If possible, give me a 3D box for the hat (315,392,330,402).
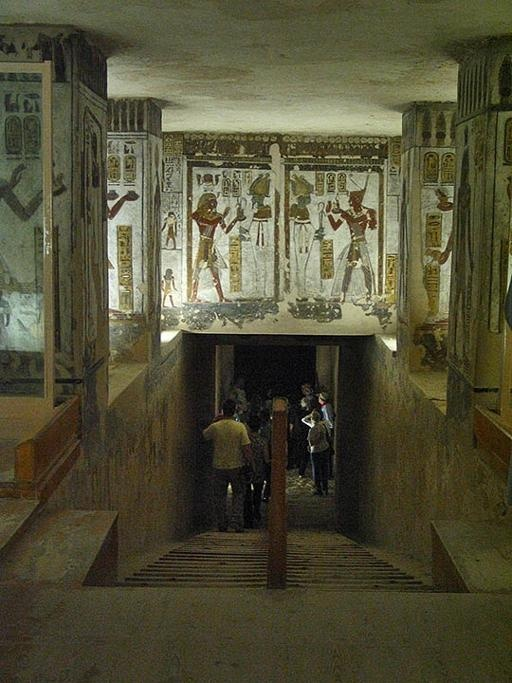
[{"bbox_3d":[0.968,0.819,8.854,0.250,0.067,0.257,-1,2,-27],"label":"hat"}]
